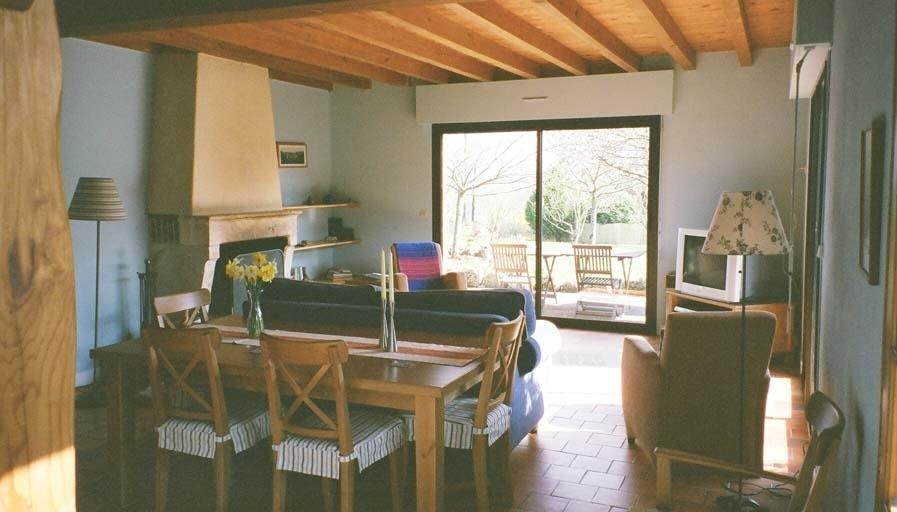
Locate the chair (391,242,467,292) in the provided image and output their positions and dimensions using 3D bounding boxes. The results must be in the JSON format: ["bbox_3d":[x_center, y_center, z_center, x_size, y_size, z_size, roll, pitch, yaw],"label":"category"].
[{"bbox_3d":[-0.123,0.103,8.468,0.673,0.835,0.694,0,-6,-27],"label":"chair"}]

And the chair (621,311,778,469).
[{"bbox_3d":[1.887,0.897,5.466,1.084,1.332,1.244,1,3,5],"label":"chair"}]

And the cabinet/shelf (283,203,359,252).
[{"bbox_3d":[-1.676,-0.393,9.477,0.445,0.658,1.126,3,6,24],"label":"cabinet/shelf"}]

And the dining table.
[{"bbox_3d":[-1.100,1.018,4.932,2.611,1.154,0.933,2,6,20],"label":"dining table"}]

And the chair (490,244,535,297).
[{"bbox_3d":[0.836,0.123,9.312,0.588,0.898,0.635,2,10,23],"label":"chair"}]

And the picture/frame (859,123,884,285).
[{"bbox_3d":[2.188,-0.285,3.662,0.070,0.847,0.441,3,6,22],"label":"picture/frame"}]
